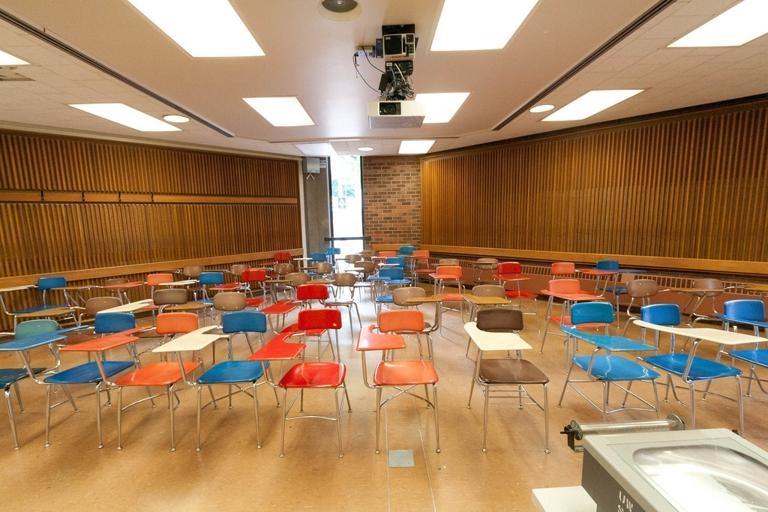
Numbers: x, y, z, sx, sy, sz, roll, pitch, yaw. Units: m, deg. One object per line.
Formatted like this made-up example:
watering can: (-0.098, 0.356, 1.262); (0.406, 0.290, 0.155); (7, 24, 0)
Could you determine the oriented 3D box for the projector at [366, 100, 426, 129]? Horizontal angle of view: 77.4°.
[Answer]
projector: (0.193, -2.195, 7.517); (0.847, 0.290, 0.628); (-1, -2, -1)
